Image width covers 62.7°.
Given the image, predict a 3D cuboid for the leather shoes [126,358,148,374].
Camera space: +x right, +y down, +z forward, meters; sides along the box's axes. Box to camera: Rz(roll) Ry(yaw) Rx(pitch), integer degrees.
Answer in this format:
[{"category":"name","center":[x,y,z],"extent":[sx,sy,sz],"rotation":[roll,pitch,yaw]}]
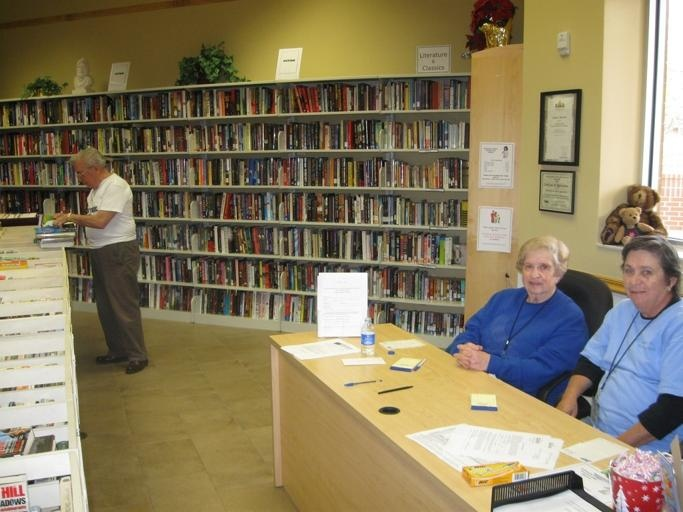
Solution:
[{"category":"leather shoes","center":[-1.887,1.015,5.209],"extent":[0.083,0.094,0.232],"rotation":[3,0,19]}]

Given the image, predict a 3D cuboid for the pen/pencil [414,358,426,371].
[{"category":"pen/pencil","center":[0.405,0.560,2.908],"extent":[0.022,0.018,0.162],"rotation":[6,17,20]}]

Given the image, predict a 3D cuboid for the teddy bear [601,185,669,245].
[{"category":"teddy bear","center":[1.973,-0.282,3.800],"extent":[0.379,0.401,0.238],"rotation":[3,16,14]}]

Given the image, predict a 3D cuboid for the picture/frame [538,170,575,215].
[{"category":"picture/frame","center":[1.599,-0.486,4.155],"extent":[0.034,0.356,0.341],"rotation":[-2,2,-27]}]

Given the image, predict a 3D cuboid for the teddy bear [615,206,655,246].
[{"category":"teddy bear","center":[1.842,-0.195,3.516],"extent":[0.232,0.242,0.195],"rotation":[-4,10,15]}]

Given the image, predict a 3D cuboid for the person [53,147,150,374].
[{"category":"person","center":[-2.117,0.050,5.072],"extent":[0.605,2.031,0.549],"rotation":[1,11,4]}]

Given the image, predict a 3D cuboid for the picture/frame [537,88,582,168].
[{"category":"picture/frame","center":[1.594,-0.950,4.114],"extent":[0.053,0.526,0.397],"rotation":[-5,12,-25]}]

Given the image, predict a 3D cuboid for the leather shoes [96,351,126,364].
[{"category":"leather shoes","center":[-2.209,0.983,5.435],"extent":[0.282,0.119,0.104],"rotation":[8,4,-19]}]
